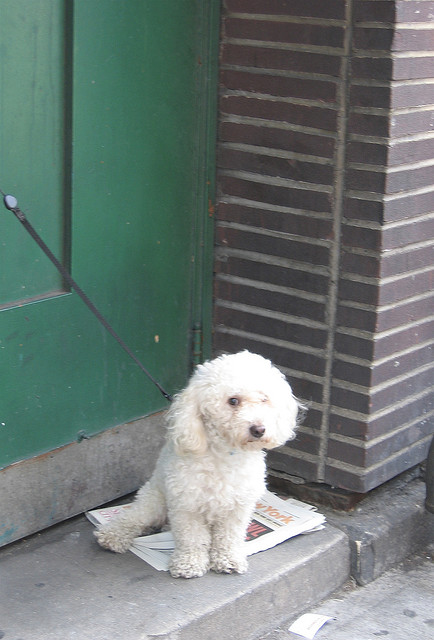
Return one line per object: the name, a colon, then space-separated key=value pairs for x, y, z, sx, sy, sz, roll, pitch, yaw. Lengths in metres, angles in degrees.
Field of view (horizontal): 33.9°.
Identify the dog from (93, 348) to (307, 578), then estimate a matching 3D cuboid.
dog: x=-0.051 y=0.444 z=2.290 sx=0.515 sy=0.667 sz=0.592 roll=-3 pitch=11 yaw=-42
